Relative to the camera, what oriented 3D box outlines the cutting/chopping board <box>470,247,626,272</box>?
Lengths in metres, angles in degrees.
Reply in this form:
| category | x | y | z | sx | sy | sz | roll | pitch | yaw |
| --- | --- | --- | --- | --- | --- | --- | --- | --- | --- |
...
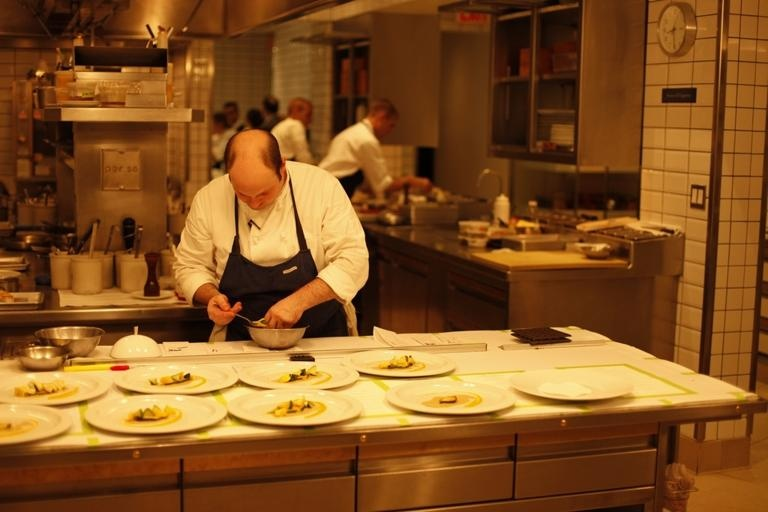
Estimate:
| category | x | y | z | sx | sy | sz | roll | pitch | yaw |
| --- | --- | --- | --- | --- | --- | --- | --- | --- | --- |
| cutting/chopping board | 1.066 | 0.010 | 4.405 | 0.916 | 0.047 | 0.566 | -1 | 12 | -9 |

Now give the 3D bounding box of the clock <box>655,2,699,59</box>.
| category | x | y | z | sx | sy | sz | roll | pitch | yaw |
| --- | --- | --- | --- | --- | --- | --- | --- | --- | --- |
| clock | 1.834 | -1.416 | 4.168 | 0.059 | 0.339 | 0.297 | -3 | 13 | -17 |

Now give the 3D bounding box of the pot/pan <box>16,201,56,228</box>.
| category | x | y | z | sx | sy | sz | roll | pitch | yaw |
| --- | --- | --- | --- | --- | --- | --- | --- | --- | --- |
| pot/pan | -3.051 | -0.368 | 5.853 | 0.326 | 0.212 | 0.312 | 0 | 4 | -29 |

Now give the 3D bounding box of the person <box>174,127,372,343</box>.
| category | x | y | z | sx | sy | sz | roll | pitch | yaw |
| --- | --- | --- | --- | --- | --- | --- | --- | --- | --- |
| person | -0.501 | -0.069 | 3.110 | 0.866 | 1.026 | 0.735 | -4 | 14 | -22 |

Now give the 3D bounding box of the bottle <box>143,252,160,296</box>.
| category | x | y | z | sx | sy | sz | roll | pitch | yaw |
| --- | --- | --- | --- | --- | --- | --- | --- | --- | --- |
| bottle | -1.381 | 0.078 | 3.934 | 0.095 | 0.241 | 0.375 | -4 | 13 | -19 |

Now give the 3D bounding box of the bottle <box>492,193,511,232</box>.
| category | x | y | z | sx | sy | sz | roll | pitch | yaw |
| --- | --- | --- | --- | --- | --- | --- | --- | --- | --- |
| bottle | 0.939 | -0.366 | 5.256 | 0.123 | 0.220 | 0.304 | 4 | 12 | 12 |

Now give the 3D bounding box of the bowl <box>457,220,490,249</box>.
| category | x | y | z | sx | sy | sz | roll | pitch | yaw |
| --- | --- | --- | --- | --- | --- | --- | --- | --- | --- |
| bowl | 0.676 | -0.170 | 5.055 | 0.210 | 0.147 | 0.225 | 0 | 2 | 0 |

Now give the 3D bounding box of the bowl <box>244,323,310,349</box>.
| category | x | y | z | sx | sy | sz | roll | pitch | yaw |
| --- | --- | --- | --- | --- | --- | --- | --- | --- | --- |
| bowl | -0.448 | 0.328 | 2.783 | 0.227 | 0.106 | 0.145 | -1 | 12 | -11 |

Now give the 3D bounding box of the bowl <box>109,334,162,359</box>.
| category | x | y | z | sx | sy | sz | roll | pitch | yaw |
| --- | --- | --- | --- | --- | --- | --- | --- | --- | --- |
| bowl | -0.974 | 0.353 | 2.605 | 0.184 | 0.059 | 0.113 | -2 | 12 | -12 |

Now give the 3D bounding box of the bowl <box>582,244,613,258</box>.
| category | x | y | z | sx | sy | sz | roll | pitch | yaw |
| --- | --- | --- | --- | --- | --- | --- | --- | --- | --- |
| bowl | 1.397 | -0.038 | 4.305 | 0.118 | 0.034 | 0.112 | -3 | 11 | 0 |

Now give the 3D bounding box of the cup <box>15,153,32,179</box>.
| category | x | y | z | sx | sy | sz | roll | pitch | yaw |
| --- | --- | --- | --- | --- | --- | --- | --- | --- | --- |
| cup | -3.873 | -0.957 | 7.167 | 0.149 | 0.211 | 0.241 | -6 | 14 | -29 |

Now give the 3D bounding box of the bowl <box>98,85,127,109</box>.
| category | x | y | z | sx | sy | sz | roll | pitch | yaw |
| --- | --- | --- | --- | --- | --- | --- | --- | --- | --- |
| bowl | -1.584 | -0.924 | 3.873 | 0.177 | 0.148 | 0.088 | 1 | 2 | -8 |
